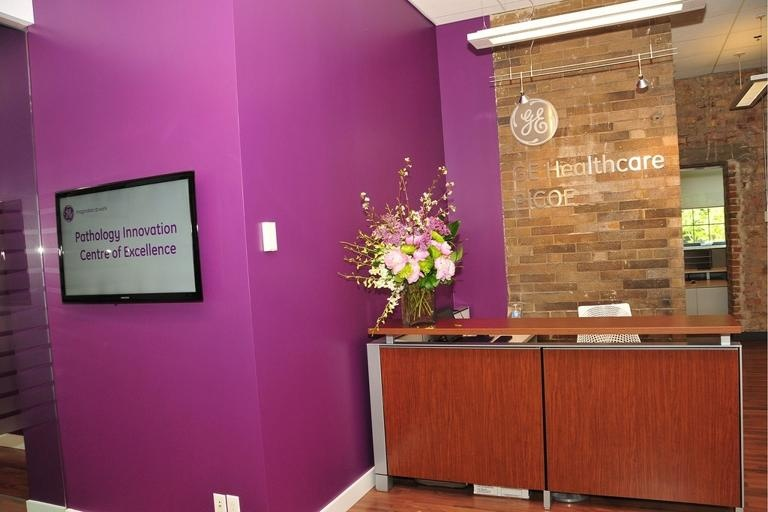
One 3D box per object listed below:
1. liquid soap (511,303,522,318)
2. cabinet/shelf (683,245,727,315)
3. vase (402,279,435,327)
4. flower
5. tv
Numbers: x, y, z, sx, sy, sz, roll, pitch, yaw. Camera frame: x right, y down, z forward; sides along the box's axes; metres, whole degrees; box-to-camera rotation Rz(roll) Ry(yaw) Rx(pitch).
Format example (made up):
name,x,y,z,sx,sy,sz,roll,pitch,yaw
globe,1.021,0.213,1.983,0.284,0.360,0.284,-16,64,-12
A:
name,x,y,z,sx,sy,sz,roll,pitch,yaw
liquid soap,1.329,0.548,5.811,0.143,0.144,0.268,-1,-9,12
cabinet/shelf,4.968,0.344,8.956,0.559,1.111,0.881,-2,0,28
vase,0.279,0.394,4.693,0.258,0.337,0.093,-2,0,2
flower,0.222,0.015,4.785,0.759,1.006,0.914,-3,5,36
tv,-1.896,-0.087,4.252,1.323,0.912,0.069,-4,0,19
